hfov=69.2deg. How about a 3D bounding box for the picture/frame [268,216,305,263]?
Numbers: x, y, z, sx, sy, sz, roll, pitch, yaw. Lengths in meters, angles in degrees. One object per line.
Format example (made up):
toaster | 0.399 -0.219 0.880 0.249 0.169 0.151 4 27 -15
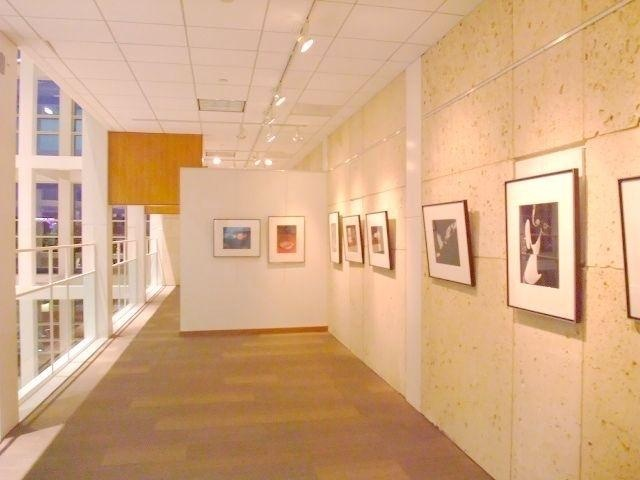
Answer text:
picture/frame | -0.786 0.007 9.990 0.953 1.236 0.043 -1 1 -7

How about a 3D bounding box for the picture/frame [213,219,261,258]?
picture/frame | -1.823 -0.027 9.800 0.779 0.692 0.027 0 -4 -15
